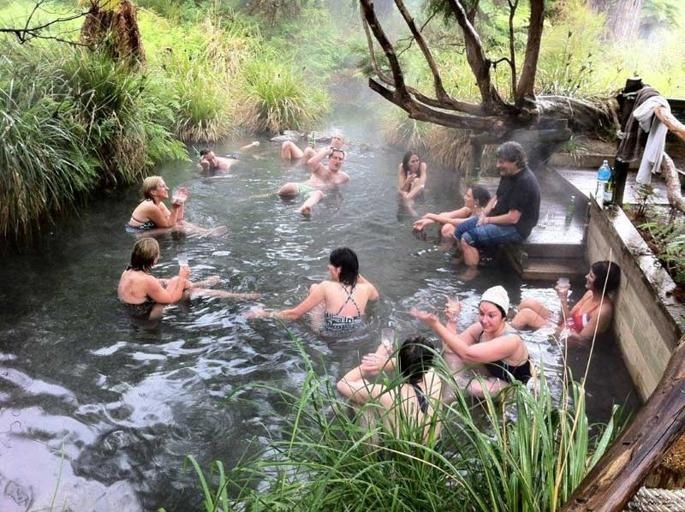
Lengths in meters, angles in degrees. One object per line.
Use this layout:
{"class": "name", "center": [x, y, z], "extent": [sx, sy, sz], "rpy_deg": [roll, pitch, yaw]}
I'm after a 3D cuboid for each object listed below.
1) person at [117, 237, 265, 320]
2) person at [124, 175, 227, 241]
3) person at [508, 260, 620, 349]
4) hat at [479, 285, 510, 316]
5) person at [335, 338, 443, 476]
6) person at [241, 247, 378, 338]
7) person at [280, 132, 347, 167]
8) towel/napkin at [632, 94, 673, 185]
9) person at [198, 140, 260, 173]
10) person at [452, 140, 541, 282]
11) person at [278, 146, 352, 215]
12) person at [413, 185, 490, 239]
{"class": "person", "center": [-2.187, 0.241, 6.946], "extent": [0.839, 0.990, 1.802], "rpy_deg": [12, 16, 41]}
{"class": "person", "center": [-2.909, -0.802, 8.752], "extent": [1.694, 1.040, 0.548], "rpy_deg": [4, 13, -19]}
{"class": "person", "center": [2.574, 0.550, 6.218], "extent": [1.558, 1.060, 0.694], "rpy_deg": [3, 30, 22]}
{"class": "hat", "center": [1.692, 0.440, 5.388], "extent": [0.281, 0.333, 0.394], "rpy_deg": [8, 10, 3]}
{"class": "person", "center": [0.382, 1.216, 3.929], "extent": [0.598, 0.601, 1.042], "rpy_deg": [-22, -23, -8]}
{"class": "person", "center": [-0.313, 0.359, 6.219], "extent": [1.211, 1.022, 0.370], "rpy_deg": [4, 17, 8]}
{"class": "person", "center": [-0.693, -2.764, 12.492], "extent": [1.532, 0.786, 0.944], "rpy_deg": [-8, 30, -16]}
{"class": "towel/napkin", "center": [4.031, -1.536, 6.570], "extent": [0.459, 1.201, 0.738], "rpy_deg": [11, 19, 29]}
{"class": "person", "center": [-2.852, -2.471, 12.283], "extent": [1.229, 0.566, 0.426], "rpy_deg": [-41, 62, -21]}
{"class": "person", "center": [2.463, -0.818, 7.865], "extent": [1.087, 1.966, 0.731], "rpy_deg": [0, 17, -5]}
{"class": "person", "center": [-0.597, -1.679, 10.346], "extent": [0.896, 1.446, 2.237], "rpy_deg": [22, 17, 12]}
{"class": "person", "center": [2.006, -0.744, 9.205], "extent": [1.455, 1.136, 0.645], "rpy_deg": [16, -19, 49]}
